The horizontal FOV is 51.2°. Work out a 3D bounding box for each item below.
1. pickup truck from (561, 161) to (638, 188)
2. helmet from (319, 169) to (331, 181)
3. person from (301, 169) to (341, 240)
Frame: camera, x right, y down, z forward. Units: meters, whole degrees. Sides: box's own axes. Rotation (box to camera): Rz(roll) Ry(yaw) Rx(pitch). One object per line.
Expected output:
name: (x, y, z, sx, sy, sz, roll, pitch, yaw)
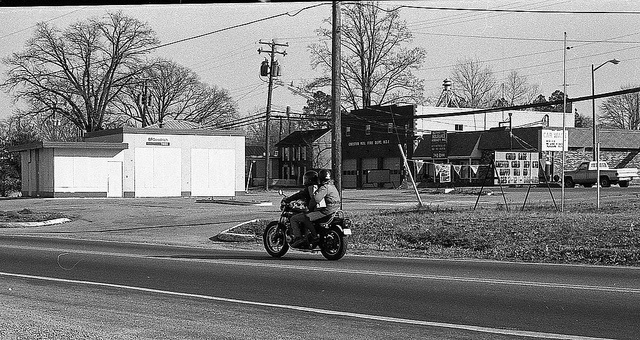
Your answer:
pickup truck: (28.152, 0.506, 67.540, 3.685, 2.141, 6.797, 1, 0, -40)
helmet: (0.224, 0.200, 27.938, 0.482, 0.461, 0.525, 4, -2, 12)
person: (0.111, 1.423, 27.866, 1.496, 2.867, 0.449, -1, 6, -2)
